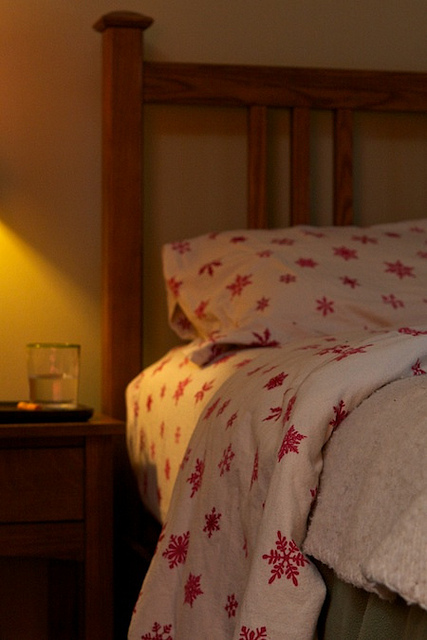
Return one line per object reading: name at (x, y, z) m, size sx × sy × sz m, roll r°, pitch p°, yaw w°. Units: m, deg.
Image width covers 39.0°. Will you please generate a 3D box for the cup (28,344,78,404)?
cup at (-0.325, 0.120, 1.226) m, size 0.105 × 0.119 × 0.106 m, roll -4°, pitch -9°, yaw -1°
